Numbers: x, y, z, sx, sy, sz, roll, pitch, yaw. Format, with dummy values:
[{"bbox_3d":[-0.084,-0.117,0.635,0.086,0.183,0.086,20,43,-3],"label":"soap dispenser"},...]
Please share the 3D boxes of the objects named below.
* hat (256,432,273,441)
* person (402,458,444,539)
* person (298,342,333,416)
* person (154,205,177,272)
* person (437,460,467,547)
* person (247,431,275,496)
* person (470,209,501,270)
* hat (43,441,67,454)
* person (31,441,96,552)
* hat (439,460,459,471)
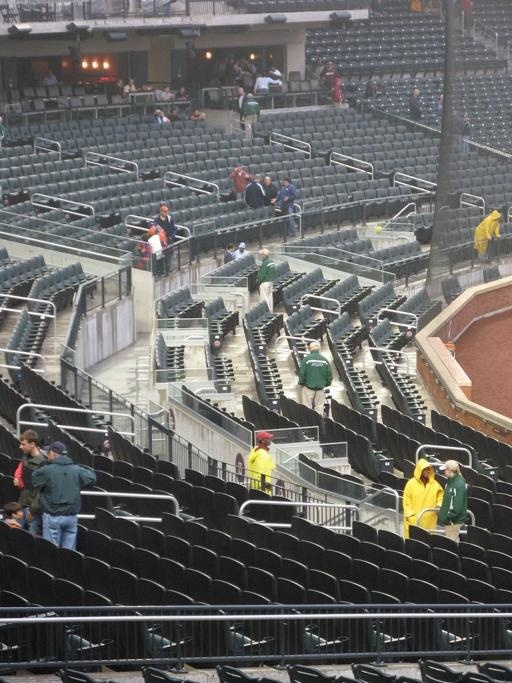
[{"bbox_3d":[0.123,1.201,26.558,0.145,0.086,0.104,-4,27,-4],"label":"hat"},{"bbox_3d":[2.098,1.968,25.919,0.453,1.173,0.364,-2,27,-3],"label":"person"},{"bbox_3d":[0.879,0.591,30.382,0.448,1.376,0.382,-2,34,-6],"label":"person"},{"bbox_3d":[-1.538,-1.657,36.082,0.377,1.234,0.406,-1,15,-9],"label":"person"},{"bbox_3d":[2.414,1.904,25.629,0.334,1.108,0.675,1,14,5],"label":"person"},{"bbox_3d":[0.079,1.571,26.826,0.221,0.820,0.373,-12,33,-21],"label":"person"},{"bbox_3d":[4.231,-1.779,38.347,0.417,1.139,0.423,7,55,9],"label":"person"},{"bbox_3d":[-2.343,1.223,24.549,0.215,0.116,0.139,14,4,41],"label":"hat"},{"bbox_3d":[-2.248,1.879,24.516,0.674,1.542,0.485,-2,22,-15],"label":"person"},{"bbox_3d":[2.345,1.474,25.302,0.209,0.125,0.151,7,-1,5],"label":"hat"}]
